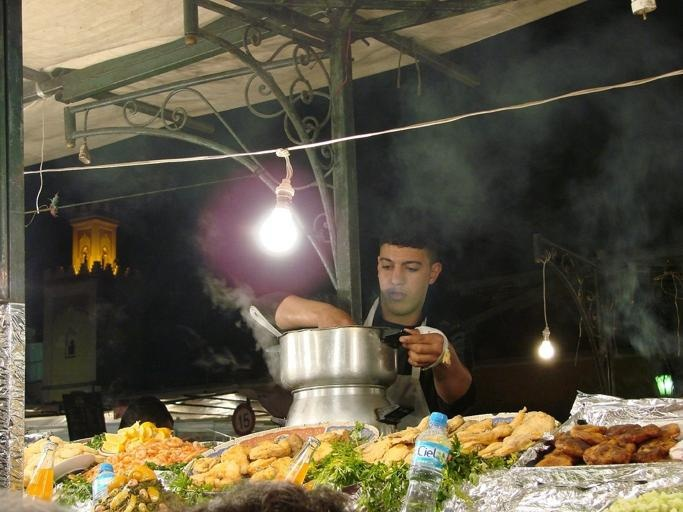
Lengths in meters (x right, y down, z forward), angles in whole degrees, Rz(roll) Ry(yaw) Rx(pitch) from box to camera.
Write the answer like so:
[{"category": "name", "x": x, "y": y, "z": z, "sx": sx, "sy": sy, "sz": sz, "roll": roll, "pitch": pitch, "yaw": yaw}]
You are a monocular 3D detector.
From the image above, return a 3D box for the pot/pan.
[{"category": "pot/pan", "x": -0.001, "y": 0.670, "z": 4.567, "sx": 0.635, "sy": 0.562, "sz": 0.297, "roll": -6, "pitch": -10, "yaw": -5}]

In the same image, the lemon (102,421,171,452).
[{"category": "lemon", "x": -1.154, "y": 1.022, "z": 4.728, "sx": 0.256, "sy": 0.159, "sz": 0.305, "roll": -6, "pitch": -6, "yaw": 34}]

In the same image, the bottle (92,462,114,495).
[{"category": "bottle", "x": -1.005, "y": 0.942, "z": 3.500, "sx": 0.085, "sy": 0.134, "sz": 0.149, "roll": -3, "pitch": -11, "yaw": -17}]

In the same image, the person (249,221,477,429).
[{"category": "person", "x": 0.268, "y": 0.413, "z": 5.539, "sx": 1.229, "sy": 1.556, "sz": 1.044, "roll": -2, "pitch": -4, "yaw": 6}]

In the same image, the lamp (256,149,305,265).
[{"category": "lamp", "x": -0.327, "y": -0.341, "z": 4.732, "sx": 0.199, "sy": 0.523, "sz": 0.195, "roll": 8, "pitch": 7, "yaw": -5}]

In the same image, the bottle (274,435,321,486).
[{"category": "bottle", "x": -0.163, "y": 0.838, "z": 3.397, "sx": 0.150, "sy": 0.186, "sz": 0.147, "roll": -6, "pitch": -11, "yaw": -1}]
